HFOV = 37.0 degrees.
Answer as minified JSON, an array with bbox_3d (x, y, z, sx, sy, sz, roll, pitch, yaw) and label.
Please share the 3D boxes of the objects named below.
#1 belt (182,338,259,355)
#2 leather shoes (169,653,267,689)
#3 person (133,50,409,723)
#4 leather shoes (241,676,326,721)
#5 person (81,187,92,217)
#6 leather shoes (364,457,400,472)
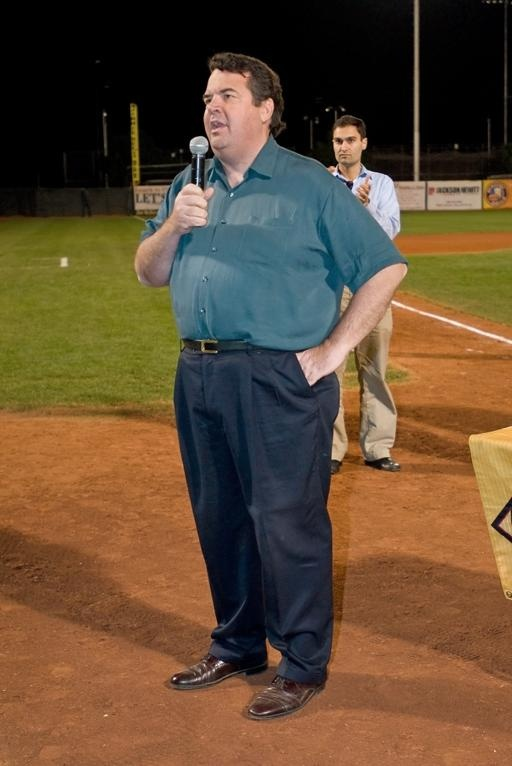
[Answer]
[{"bbox_3d":[-0.133,-0.112,2.303,0.086,0.045,0.336,-7,11,-36],"label":"belt"},{"bbox_3d":[-0.148,0.961,2.603,0.354,0.132,0.101,1,0,-22],"label":"leather shoes"},{"bbox_3d":[0.001,0.012,2.359,0.748,2.019,0.467,6,12,29],"label":"person"},{"bbox_3d":[0.075,0.964,2.380,0.228,0.092,0.083,1,-3,-44],"label":"leather shoes"},{"bbox_3d":[-9.811,-10.339,44.316,0.892,0.519,2.379,-7,-21,-13],"label":"person"},{"bbox_3d":[0.824,0.546,5.039,0.217,0.080,0.080,-5,-4,39],"label":"leather shoes"}]
